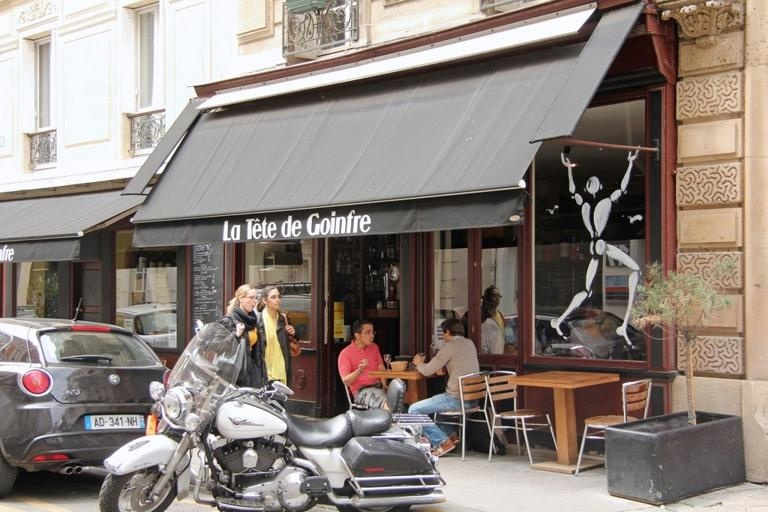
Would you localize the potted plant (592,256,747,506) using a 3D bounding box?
[{"bbox_3d":[3.628,1.488,10.838,1.746,2.940,0.973,1,-4,-34],"label":"potted plant"}]

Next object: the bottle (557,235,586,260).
[{"bbox_3d":[2.699,-0.111,12.463,0.430,0.360,0.025,-3,-3,32],"label":"bottle"}]

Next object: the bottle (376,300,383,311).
[{"bbox_3d":[-0.075,0.872,15.561,0.114,0.148,0.136,-1,-3,-5],"label":"bottle"}]
